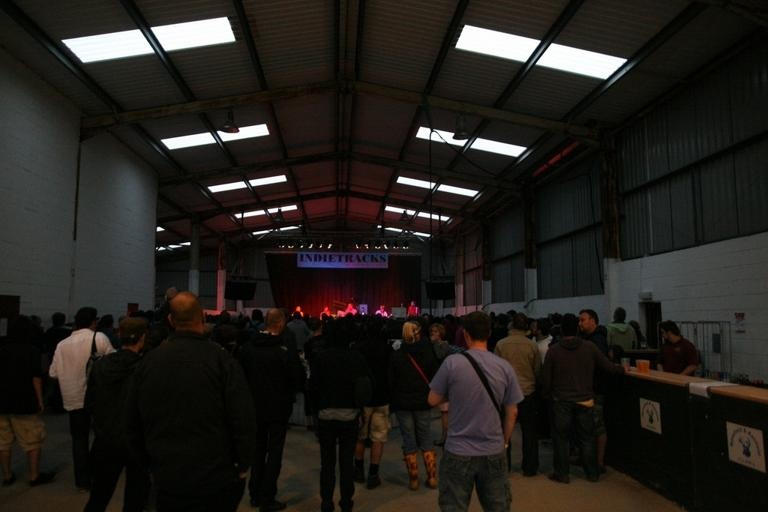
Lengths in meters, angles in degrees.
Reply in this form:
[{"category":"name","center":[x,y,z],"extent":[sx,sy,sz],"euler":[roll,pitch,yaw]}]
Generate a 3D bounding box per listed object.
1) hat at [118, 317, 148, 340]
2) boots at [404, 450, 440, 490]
[{"category":"hat","center":[-3.023,0.880,6.596],"extent":[0.226,0.281,0.294],"euler":[10,-16,-24]},{"category":"boots","center":[0.544,2.994,7.686],"extent":[0.517,0.642,0.542],"euler":[-3,-9,4]}]
